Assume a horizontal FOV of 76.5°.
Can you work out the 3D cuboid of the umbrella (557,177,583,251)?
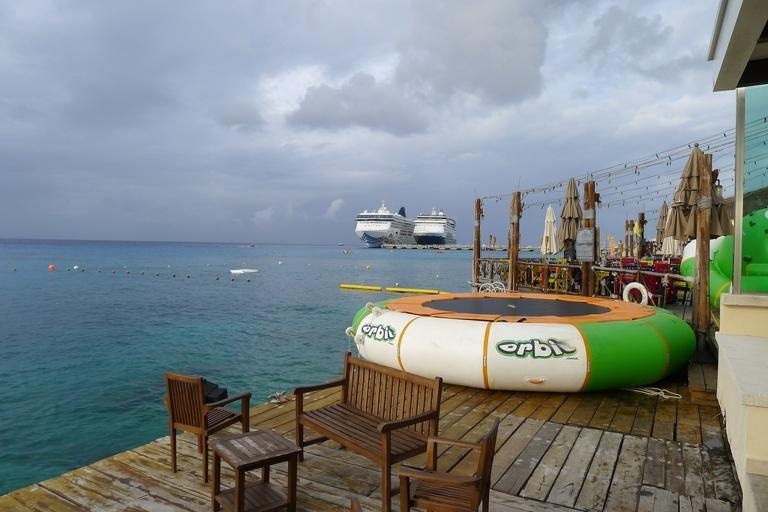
[{"bbox_3d":[5.785,-1.316,15.191,0.658,2.196,1.481,-1,2,19],"label":"umbrella"}]

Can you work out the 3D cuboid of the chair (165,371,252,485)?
[{"bbox_3d":[-2.503,2.301,6.917,1.002,1.330,0.882,0,-1,24],"label":"chair"}]

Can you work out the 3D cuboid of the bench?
[{"bbox_3d":[-0.188,2.391,6.521,0.846,1.198,1.912,5,-5,-40],"label":"bench"}]

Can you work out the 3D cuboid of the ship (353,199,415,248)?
[{"bbox_3d":[-0.889,-7.052,120.121,7.378,9.126,24.843,1,0,21],"label":"ship"}]
